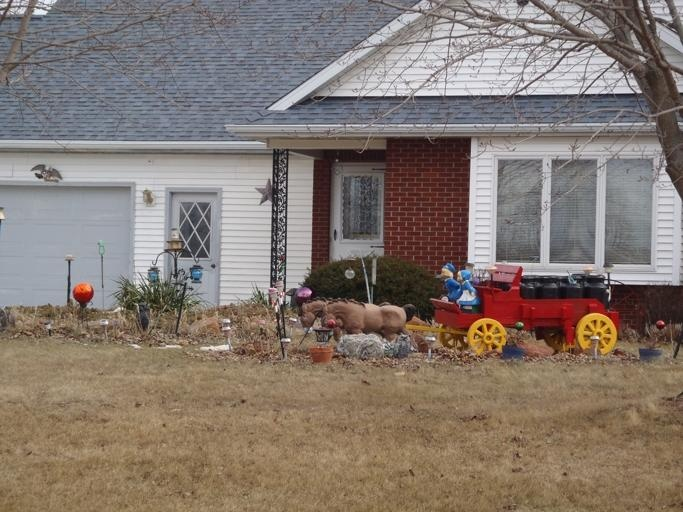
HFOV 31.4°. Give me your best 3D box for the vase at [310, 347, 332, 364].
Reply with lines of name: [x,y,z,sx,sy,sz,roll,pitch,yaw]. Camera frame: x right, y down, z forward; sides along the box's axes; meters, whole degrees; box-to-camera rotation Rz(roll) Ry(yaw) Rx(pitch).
vase: [-0.287,1.380,16.771,0.234,0.127,0.234,-7,-2,27]
